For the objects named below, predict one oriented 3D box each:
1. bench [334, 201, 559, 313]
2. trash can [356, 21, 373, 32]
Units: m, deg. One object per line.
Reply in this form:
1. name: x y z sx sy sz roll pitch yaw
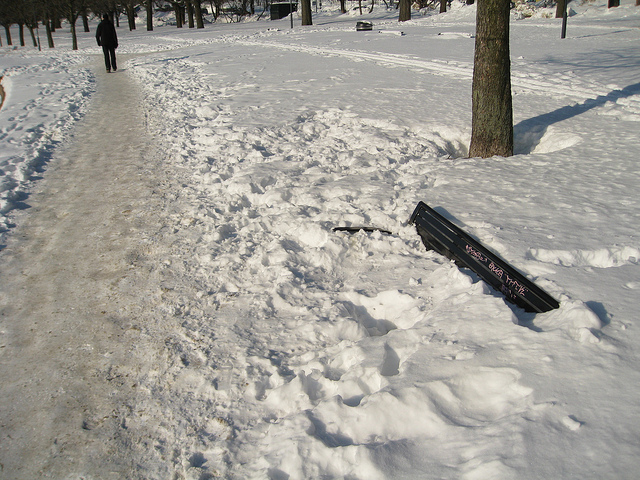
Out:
1. bench: 1.733 0.363 5.452 2.013 0.716 0.648 32 2 -19
2. trash can: 2.165 -10.670 24.613 0.738 0.318 0.610 -3 25 -4
